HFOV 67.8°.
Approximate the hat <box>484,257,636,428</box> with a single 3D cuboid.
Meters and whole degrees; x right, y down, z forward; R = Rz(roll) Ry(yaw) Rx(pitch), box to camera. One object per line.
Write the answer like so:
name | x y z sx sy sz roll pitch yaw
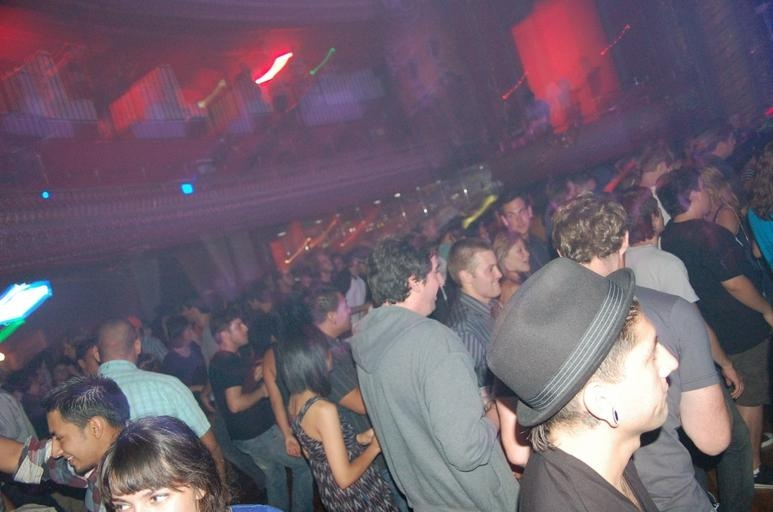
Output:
hat | 1.407 0.655 4.943 1.403 0.536 1.174 -55 12 6
